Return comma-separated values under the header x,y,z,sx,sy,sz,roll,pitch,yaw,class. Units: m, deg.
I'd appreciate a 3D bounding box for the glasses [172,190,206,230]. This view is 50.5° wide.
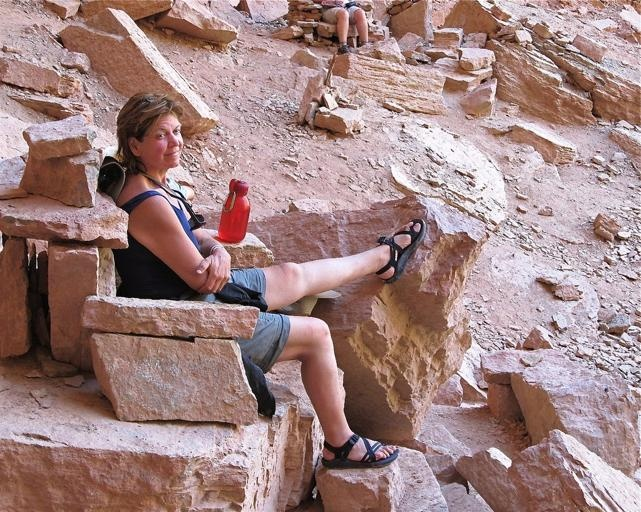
x,y,z,sx,sy,sz,roll,pitch,yaw,class
-0.626,-0.243,3.433,0.082,0.215,0.125,-27,18,7,glasses

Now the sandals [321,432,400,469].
x,y,z,sx,sy,sz,roll,pitch,yaw,class
0.181,0.890,3.142,0.348,0.144,0.143,-3,20,2,sandals

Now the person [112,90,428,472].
x,y,z,sx,sy,sz,roll,pitch,yaw,class
-0.354,0.109,3.179,1.545,1.187,1.166,13,33,-8,person

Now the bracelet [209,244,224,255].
x,y,z,sx,sy,sz,roll,pitch,yaw,class
-0.507,-0.026,3.322,0.056,0.024,0.062,0,12,4,bracelet
